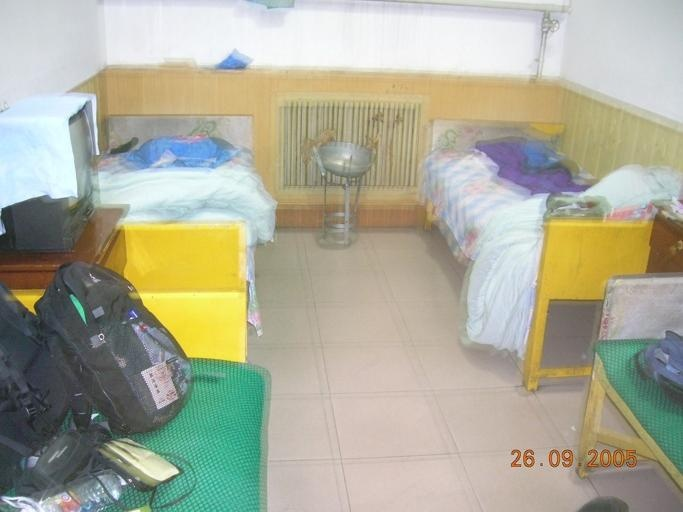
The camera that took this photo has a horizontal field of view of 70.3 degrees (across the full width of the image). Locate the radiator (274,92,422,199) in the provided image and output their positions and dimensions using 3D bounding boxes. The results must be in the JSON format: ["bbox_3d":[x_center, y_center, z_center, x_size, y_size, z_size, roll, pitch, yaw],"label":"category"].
[{"bbox_3d":[0.021,-1.013,4.280,0.918,0.668,0.045,0,16,-2],"label":"radiator"}]
